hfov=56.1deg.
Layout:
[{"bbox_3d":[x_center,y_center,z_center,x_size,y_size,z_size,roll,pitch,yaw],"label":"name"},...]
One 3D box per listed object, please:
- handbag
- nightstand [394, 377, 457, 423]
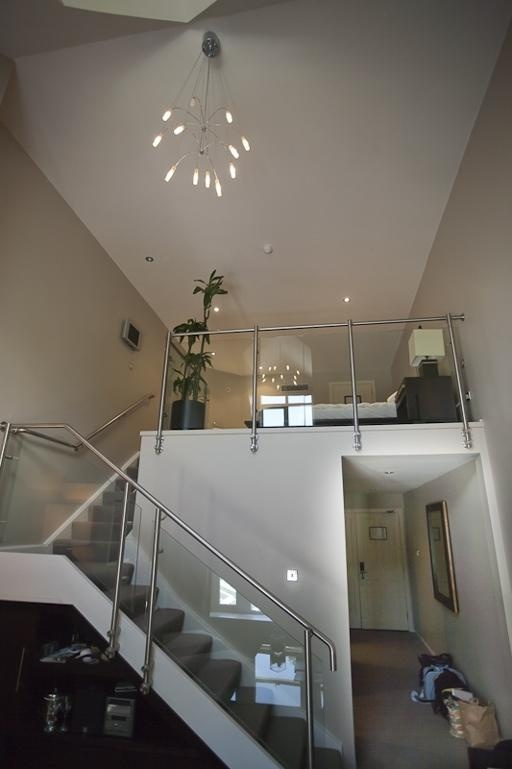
[{"bbox_3d":[1.532,2.387,3.586,0.408,0.270,0.652,-12,12,-8],"label":"handbag"},{"bbox_3d":[1.326,0.120,3.663,0.309,0.339,0.470,0,-10,8],"label":"nightstand"}]
